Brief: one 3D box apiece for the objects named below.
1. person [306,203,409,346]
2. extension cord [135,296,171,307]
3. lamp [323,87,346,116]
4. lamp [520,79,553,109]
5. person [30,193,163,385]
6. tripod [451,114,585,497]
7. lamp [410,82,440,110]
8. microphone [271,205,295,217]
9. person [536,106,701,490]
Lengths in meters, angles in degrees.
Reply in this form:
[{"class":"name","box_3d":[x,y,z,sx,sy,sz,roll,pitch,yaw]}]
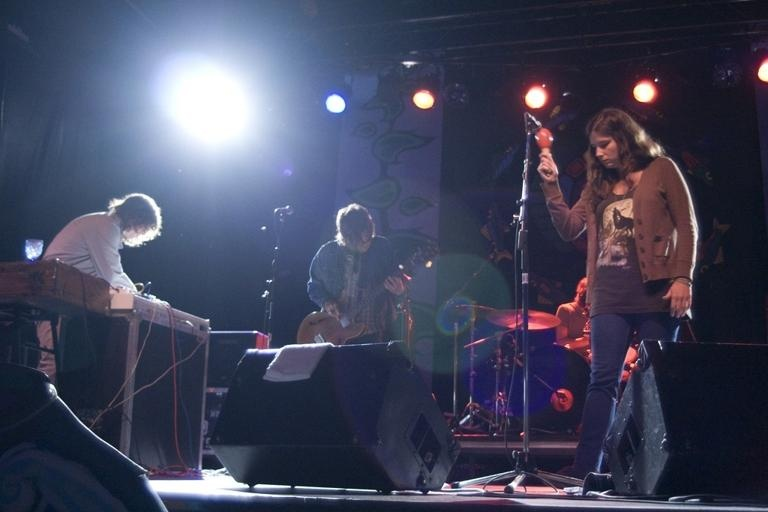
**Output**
[{"class":"person","box_3d":[-0.232,0.211,6.841,0.713,1.412,0.362,5,7,10]},{"class":"extension cord","box_3d":[-1.850,0.363,5.915,0.183,0.049,0.170,17,8,12]},{"class":"lamp","box_3d":[-0.550,-1.708,8.198,0.260,0.263,0.064,6,7,6]},{"class":"lamp","box_3d":[1.593,-1.657,7.749,0.270,0.235,0.182,4,-13,10]},{"class":"person","box_3d":[-2.340,0.170,5.955,0.820,1.672,0.869,8,-13,-9]},{"class":"tripod","box_3d":[1.134,0.412,5.479,1.154,2.905,1.082,1,14,14]},{"class":"lamp","box_3d":[0.440,-1.713,8.171,0.288,0.144,0.431,6,-13,1]},{"class":"microphone","box_3d":[-1.024,-0.449,7.575,0.162,0.117,0.325,10,-14,-16]},{"class":"person","box_3d":[1.547,0.215,4.949,0.974,2.464,0.361,0,-14,24]}]
